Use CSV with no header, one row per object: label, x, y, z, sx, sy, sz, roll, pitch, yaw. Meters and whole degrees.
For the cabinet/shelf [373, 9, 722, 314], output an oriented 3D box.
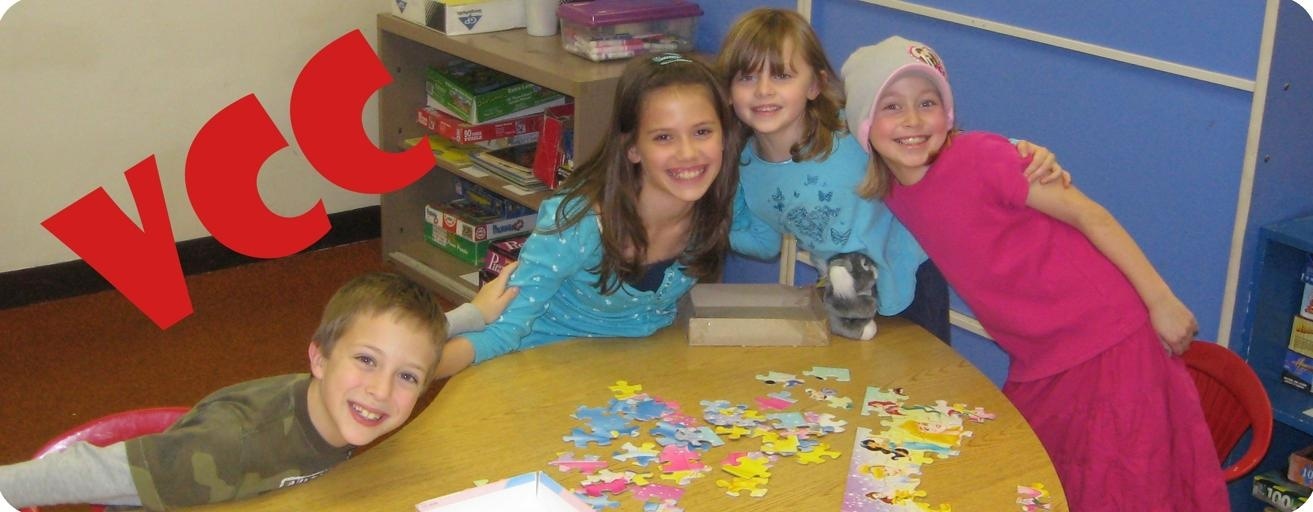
cabinet/shelf,-0.727,-0.739,5.581,1.258,1.636,2.283,-18,38,-36
